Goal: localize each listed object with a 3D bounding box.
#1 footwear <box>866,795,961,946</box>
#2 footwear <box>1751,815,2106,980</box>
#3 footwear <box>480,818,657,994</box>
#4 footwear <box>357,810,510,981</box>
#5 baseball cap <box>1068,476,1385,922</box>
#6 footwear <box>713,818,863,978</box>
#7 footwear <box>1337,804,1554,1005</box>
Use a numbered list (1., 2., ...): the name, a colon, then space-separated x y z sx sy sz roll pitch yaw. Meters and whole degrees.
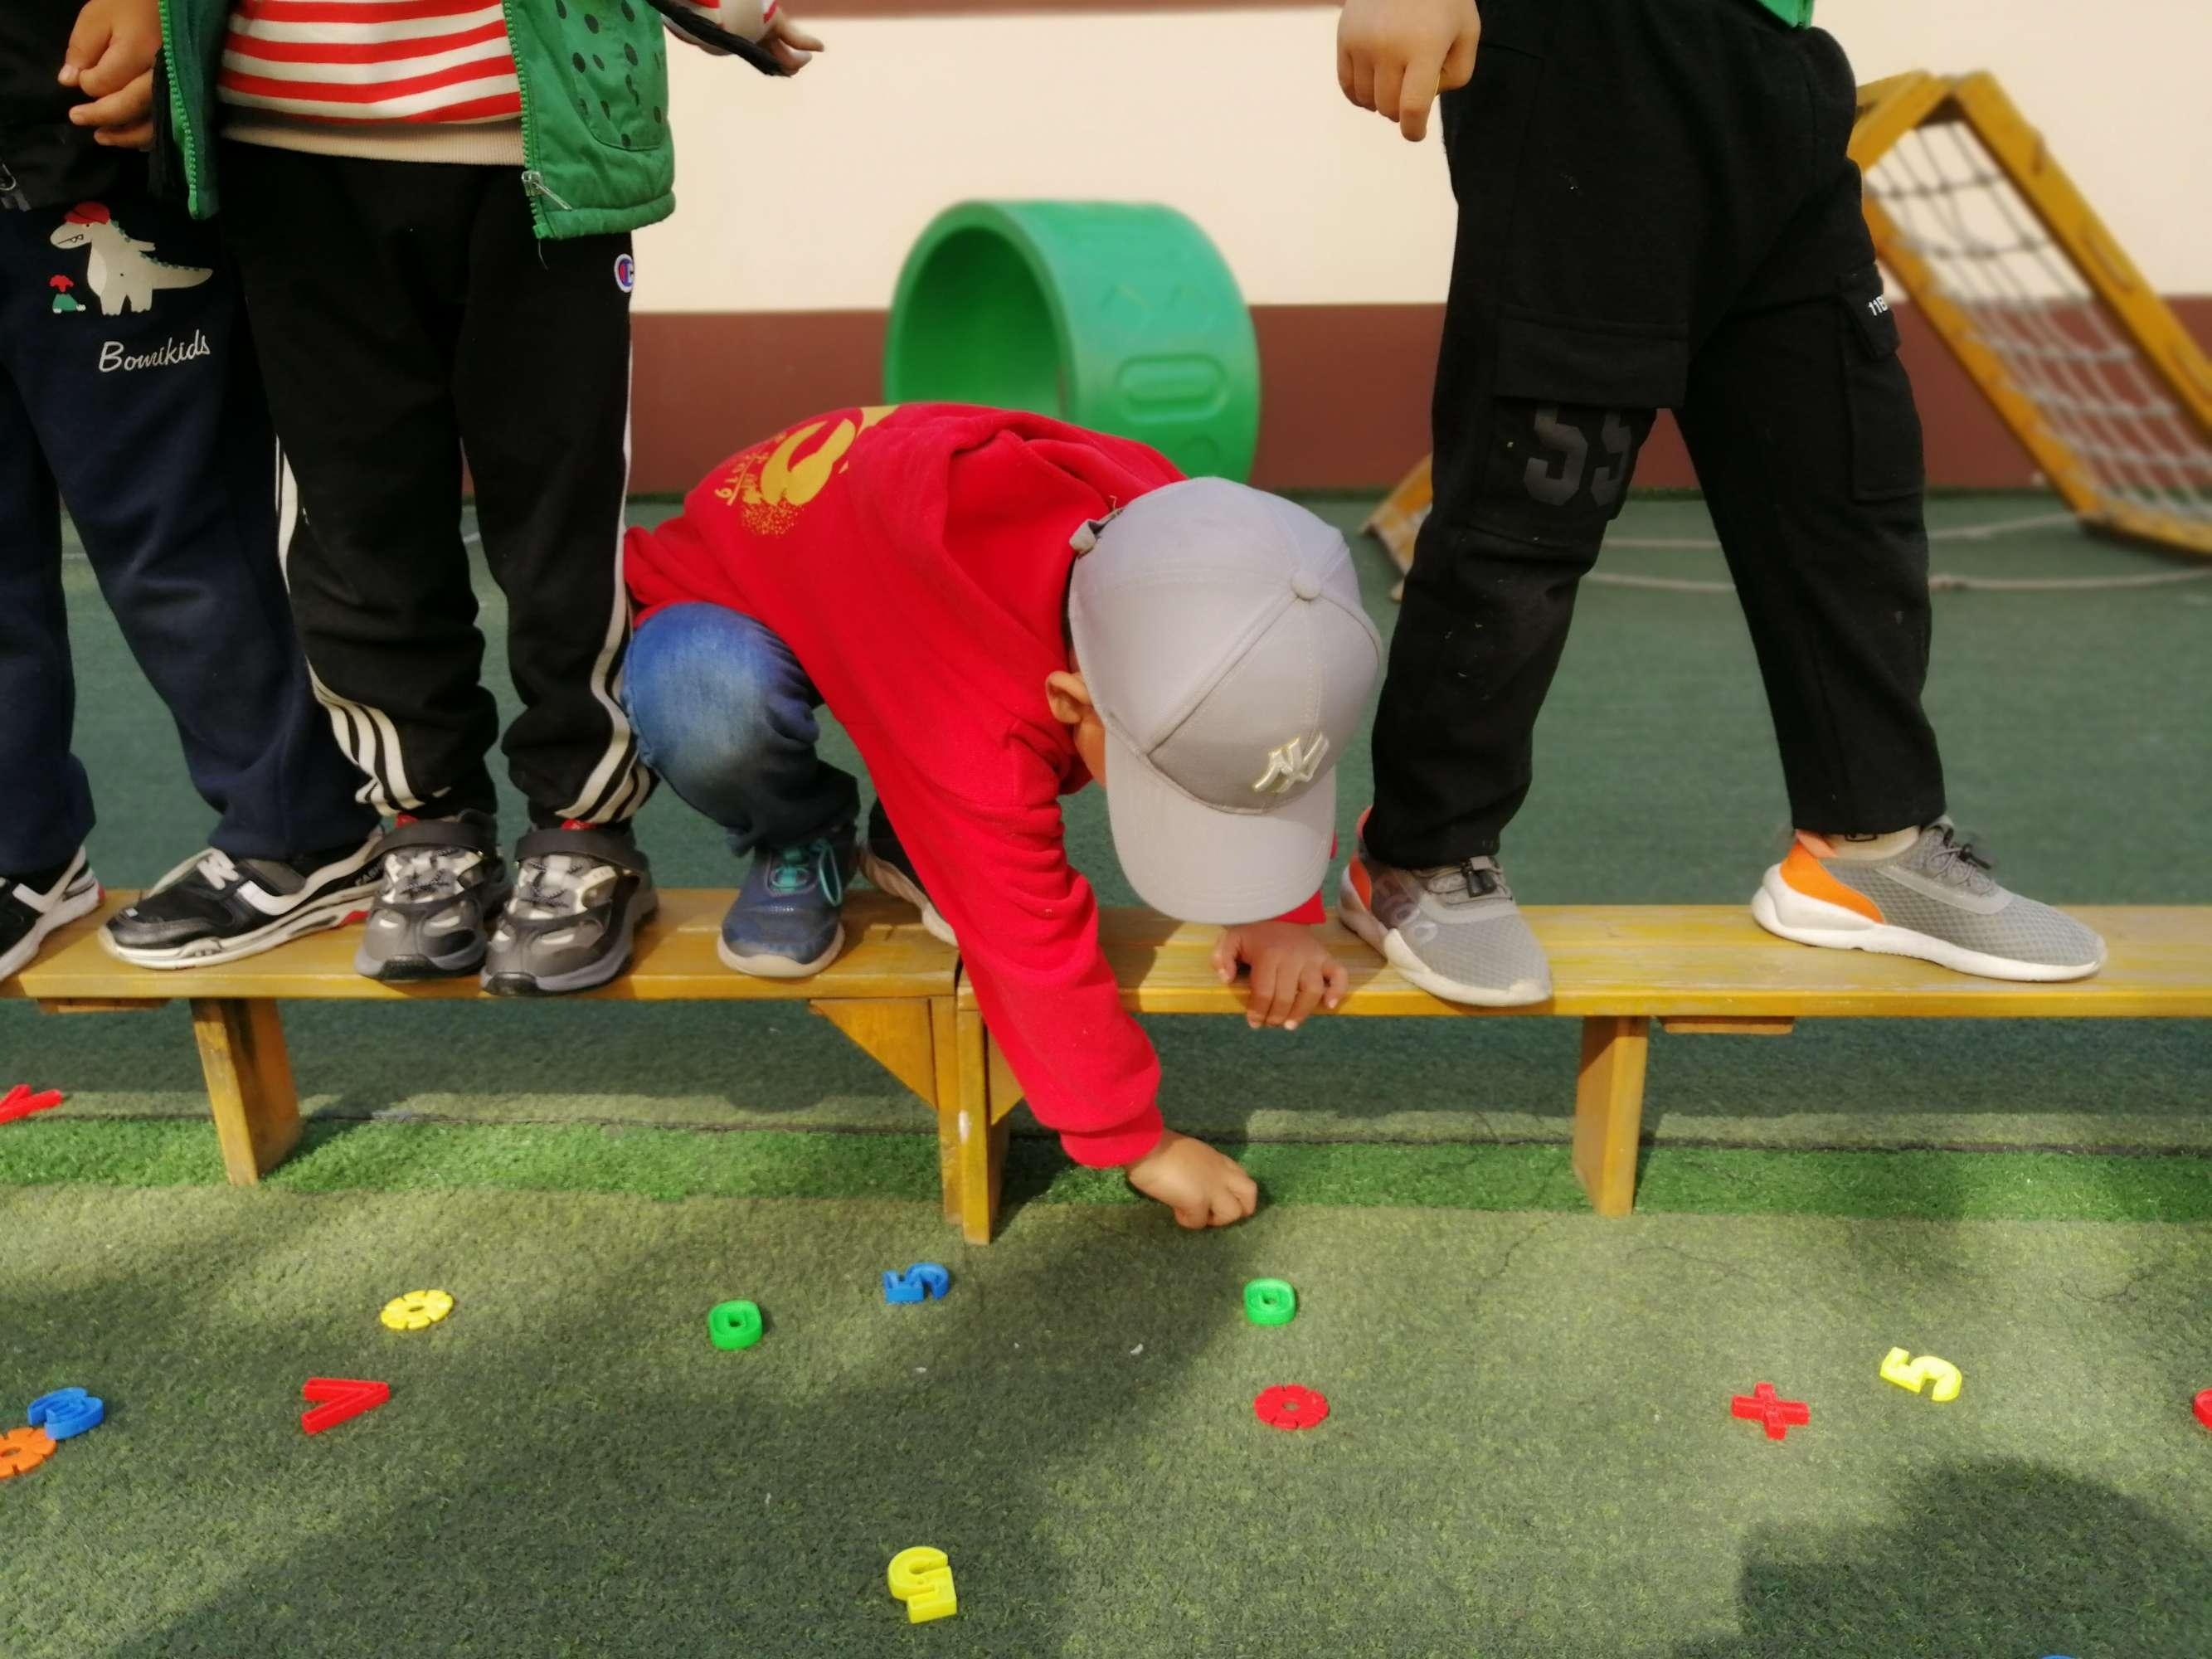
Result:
1. footwear: -0.240 0.058 2.270 0.061 0.071 0.181 -33 64 -15
2. footwear: 1.047 0.086 2.396 0.434 0.199 0.178 7 13 6
3. footwear: -0.691 0.083 2.329 0.126 0.126 0.256 4 31 4
4. footwear: -0.852 0.095 2.312 0.119 0.123 0.268 1 27 -3
5. baseball cap: 0.165 -0.189 2.028 0.344 0.565 0.297 -8 -6 -24
6. footwear: -0.412 0.085 2.350 0.106 0.096 0.238 4 25 1
7. footwear: 0.449 0.102 2.380 0.187 0.178 0.421 -3 20 -25
